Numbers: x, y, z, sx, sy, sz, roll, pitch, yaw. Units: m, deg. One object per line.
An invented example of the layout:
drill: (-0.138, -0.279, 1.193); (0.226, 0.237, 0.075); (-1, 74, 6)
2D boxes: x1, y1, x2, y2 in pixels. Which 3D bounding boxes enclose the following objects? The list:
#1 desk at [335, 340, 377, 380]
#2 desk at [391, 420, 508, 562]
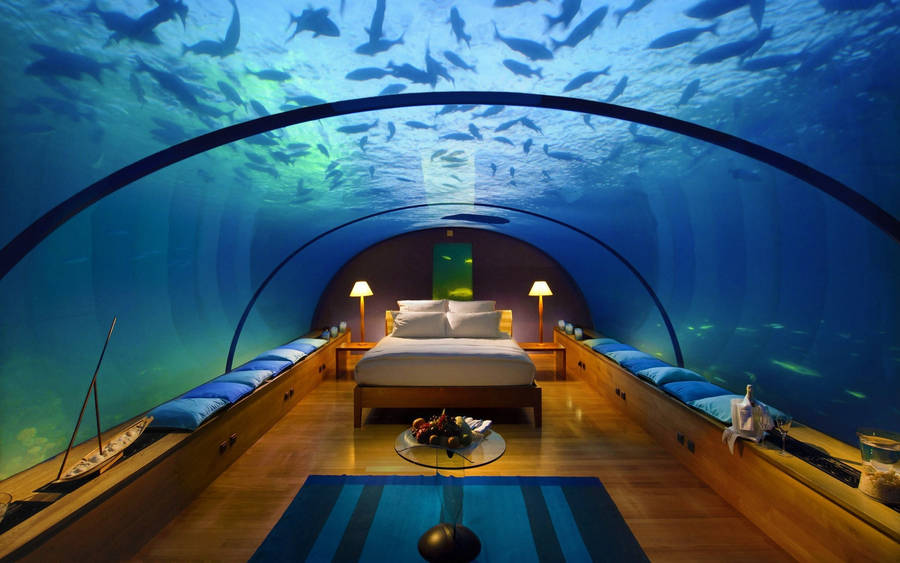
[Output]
desk: (-1.704, 1.401, 8.542); (1.122, 0.585, 0.582); (0, -4, -3)
desk: (0.043, 1.888, 4.454); (1.091, 0.920, 1.044); (2, 7, 19)
